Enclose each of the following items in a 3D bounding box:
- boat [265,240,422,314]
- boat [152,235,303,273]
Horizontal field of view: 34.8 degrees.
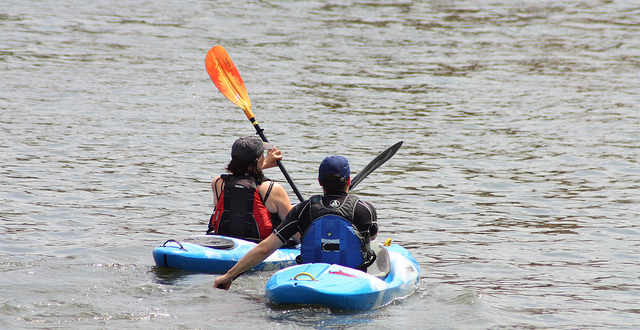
[{"bbox_3d":[0.673,2.771,25.849,2.641,0.714,4.356,8,13,29],"label":"boat"},{"bbox_3d":[-2.373,2.564,27.155,4.942,0.624,2.485,5,-9,-35],"label":"boat"}]
